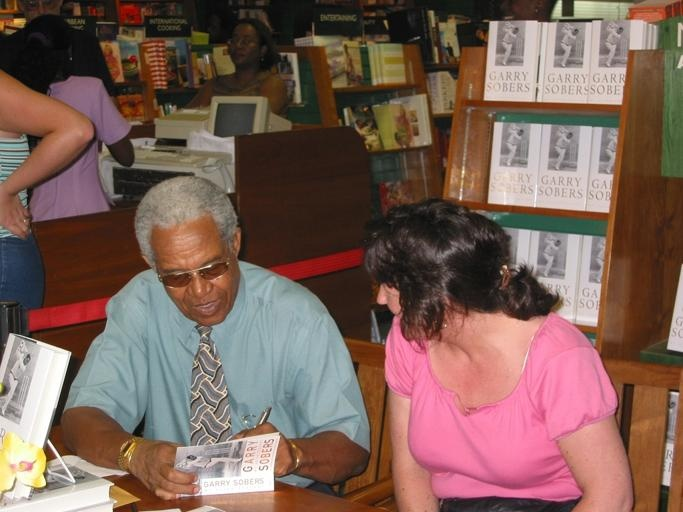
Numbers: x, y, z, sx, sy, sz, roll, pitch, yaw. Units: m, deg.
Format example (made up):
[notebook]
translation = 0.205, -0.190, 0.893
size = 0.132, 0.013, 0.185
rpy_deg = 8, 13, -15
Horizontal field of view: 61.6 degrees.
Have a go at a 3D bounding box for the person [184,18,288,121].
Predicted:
[person]
translation = -0.788, -1.518, 4.711
size = 0.879, 0.742, 0.517
rpy_deg = 9, 14, 23

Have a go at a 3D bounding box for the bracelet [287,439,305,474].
[bracelet]
translation = -0.115, 0.512, 1.459
size = 0.022, 0.072, 0.077
rpy_deg = -9, 3, -30

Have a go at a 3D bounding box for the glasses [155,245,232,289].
[glasses]
translation = -0.419, 0.051, 1.652
size = 0.207, 0.081, 0.071
rpy_deg = -4, 13, -11

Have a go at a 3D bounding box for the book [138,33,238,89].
[book]
translation = -1.552, -1.915, 5.724
size = 0.570, 0.478, 1.140
rpy_deg = 6, 11, 40

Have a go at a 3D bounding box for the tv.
[tv]
translation = -0.587, -0.880, 3.807
size = 0.453, 0.329, 0.462
rpy_deg = 7, 9, 27

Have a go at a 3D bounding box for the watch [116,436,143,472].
[watch]
translation = -0.545, 0.494, 1.447
size = 0.026, 0.068, 0.069
rpy_deg = 14, 50, -18
